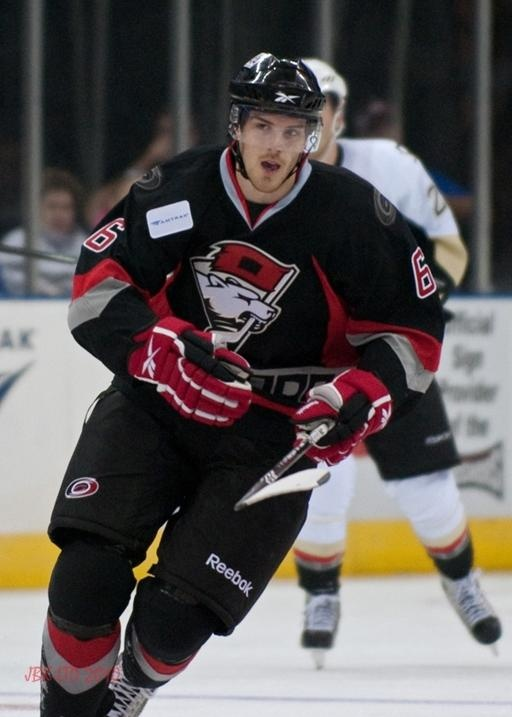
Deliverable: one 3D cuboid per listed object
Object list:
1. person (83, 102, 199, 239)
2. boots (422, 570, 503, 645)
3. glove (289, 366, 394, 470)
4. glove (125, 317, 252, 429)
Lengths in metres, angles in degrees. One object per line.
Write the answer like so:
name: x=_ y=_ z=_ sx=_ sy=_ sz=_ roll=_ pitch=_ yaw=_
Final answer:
person: x=-0.572 y=-0.966 z=4.646 sx=0.789 sy=0.231 sz=0.873 roll=9 pitch=32 yaw=0
boots: x=0.611 y=0.692 z=2.695 sx=0.114 sy=0.266 sz=0.116 roll=-33 pitch=-26 yaw=6
glove: x=0.169 y=0.112 z=1.874 sx=0.230 sy=0.162 sz=0.102 roll=-37 pitch=23 yaw=-14
glove: x=-0.112 y=0.014 z=1.814 sx=0.260 sy=0.162 sz=0.112 roll=30 pitch=31 yaw=8
